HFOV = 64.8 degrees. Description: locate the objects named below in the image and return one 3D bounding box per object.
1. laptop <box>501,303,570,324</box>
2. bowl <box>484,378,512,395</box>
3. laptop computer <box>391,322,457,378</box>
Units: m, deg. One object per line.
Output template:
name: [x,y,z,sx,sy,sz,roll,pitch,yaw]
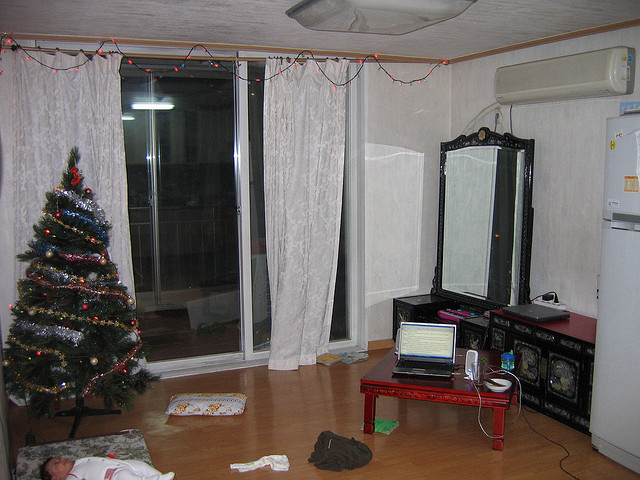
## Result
laptop: [2.038,0.681,4.794,0.385,0.057,0.424,-6,13,-22]
bowl: [1.467,1.196,4.175,0.172,0.049,0.241,11,17,42]
laptop computer: [0.924,0.951,4.448,0.512,0.356,0.408,3,13,15]
